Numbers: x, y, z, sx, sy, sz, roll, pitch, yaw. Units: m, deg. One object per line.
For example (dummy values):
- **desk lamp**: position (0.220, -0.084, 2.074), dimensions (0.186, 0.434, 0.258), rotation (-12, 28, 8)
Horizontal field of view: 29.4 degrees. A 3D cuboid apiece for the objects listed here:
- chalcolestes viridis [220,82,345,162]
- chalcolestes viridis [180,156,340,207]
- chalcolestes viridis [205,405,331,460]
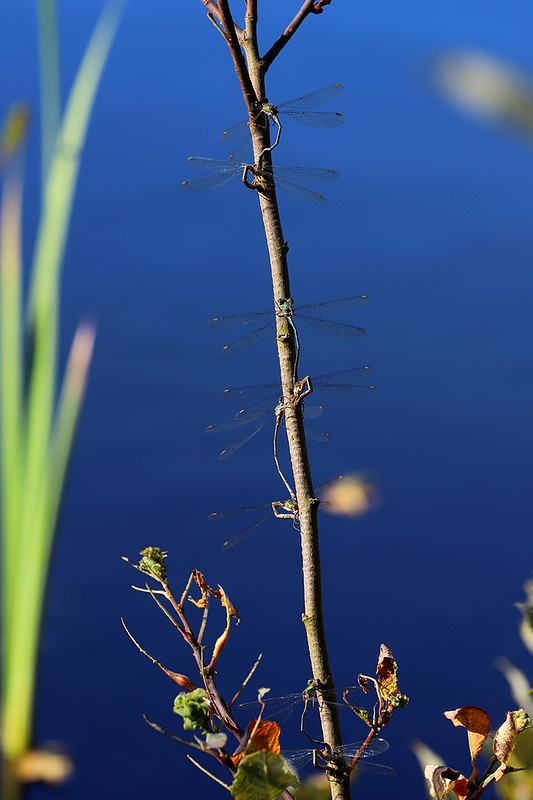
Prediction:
- **chalcolestes viridis**: position (0.005, -0.216, 0.774), dimensions (0.101, 0.044, 0.052), rotation (-6, 4, 15)
- **chalcolestes viridis**: position (-0.005, -0.184, 0.849), dimensions (0.105, 0.025, 0.043), rotation (7, -38, -1)
- **chalcolestes viridis**: position (0.007, 0.019, 0.839), dimensions (0.102, 0.048, 0.041), rotation (-14, -34, 32)
